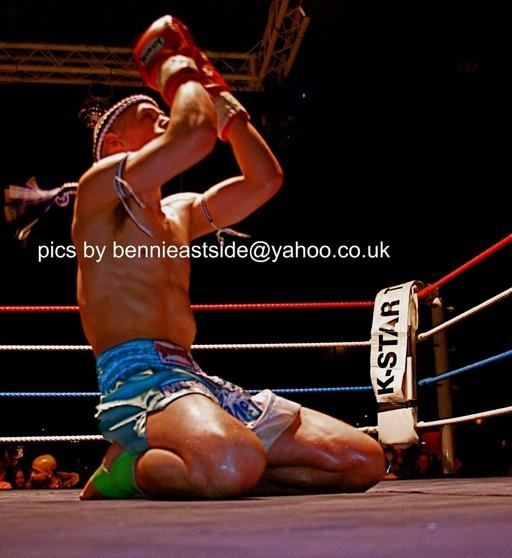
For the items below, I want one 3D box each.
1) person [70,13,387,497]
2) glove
[{"bbox_3d":[-0.165,-0.082,1.699,0.683,1.014,0.692,-3,3,39],"label":"person"},{"bbox_3d":[-0.233,-0.569,1.836,0.256,0.405,0.155,-43,-9,-23],"label":"glove"}]
